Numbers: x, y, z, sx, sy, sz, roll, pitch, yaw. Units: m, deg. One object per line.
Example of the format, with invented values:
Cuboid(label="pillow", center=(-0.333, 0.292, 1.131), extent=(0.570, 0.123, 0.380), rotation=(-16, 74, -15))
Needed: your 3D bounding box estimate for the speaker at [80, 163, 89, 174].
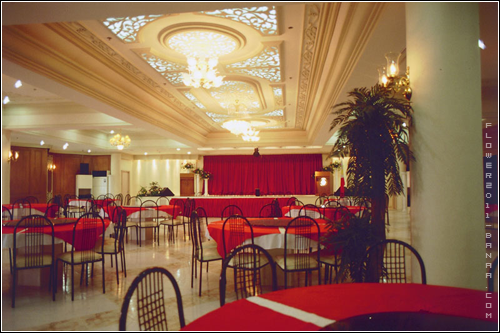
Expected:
Cuboid(label="speaker", center=(-8.021, 0.092, 16.709), extent=(0.452, 0.556, 0.459), rotation=(-1, 2, -23))

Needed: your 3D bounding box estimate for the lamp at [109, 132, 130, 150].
Cuboid(label="lamp", center=(-5.051, -1.021, 13.404), extent=(0.812, 0.589, 0.798), rotation=(4, 2, 13))

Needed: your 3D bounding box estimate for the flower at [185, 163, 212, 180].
Cuboid(label="flower", center=(-2.692, 0.204, 17.123), extent=(1.160, 0.692, 2.449), rotation=(-1, 2, -13))

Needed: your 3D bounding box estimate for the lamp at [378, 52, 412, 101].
Cuboid(label="lamp", center=(1.990, -1.160, 4.735), extent=(0.401, 0.700, 0.702), rotation=(4, -3, 9))
